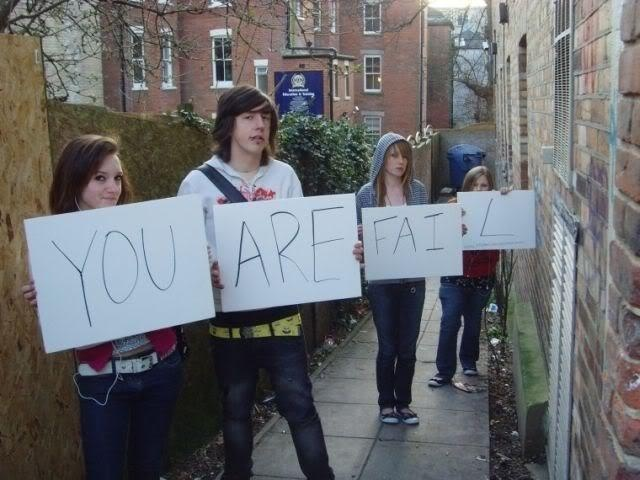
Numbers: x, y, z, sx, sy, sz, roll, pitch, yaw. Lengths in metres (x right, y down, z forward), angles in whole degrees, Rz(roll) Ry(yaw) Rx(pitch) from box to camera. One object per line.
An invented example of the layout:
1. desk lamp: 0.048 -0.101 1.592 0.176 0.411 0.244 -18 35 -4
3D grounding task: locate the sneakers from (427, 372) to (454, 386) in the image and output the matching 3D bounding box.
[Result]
1. sneakers: 1.143 1.345 6.074 0.257 0.122 0.096 1 -3 -1

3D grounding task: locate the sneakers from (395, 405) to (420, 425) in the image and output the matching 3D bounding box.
1. sneakers: 0.733 1.483 5.270 0.086 0.106 0.238 7 -15 -22

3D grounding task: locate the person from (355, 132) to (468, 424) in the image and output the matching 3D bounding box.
1. person: 0.588 0.351 5.171 0.572 2.386 0.704 -1 8 10

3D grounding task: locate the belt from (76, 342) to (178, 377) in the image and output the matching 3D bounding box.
1. belt: -1.013 0.642 3.197 0.408 0.079 0.073 -5 9 -14

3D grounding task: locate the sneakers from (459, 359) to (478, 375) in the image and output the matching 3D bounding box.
1. sneakers: 1.489 1.283 6.291 0.076 0.100 0.230 0 -6 1

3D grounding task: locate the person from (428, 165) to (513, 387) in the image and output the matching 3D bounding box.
1. person: 1.347 0.432 5.907 0.846 2.112 0.686 -9 18 -31
